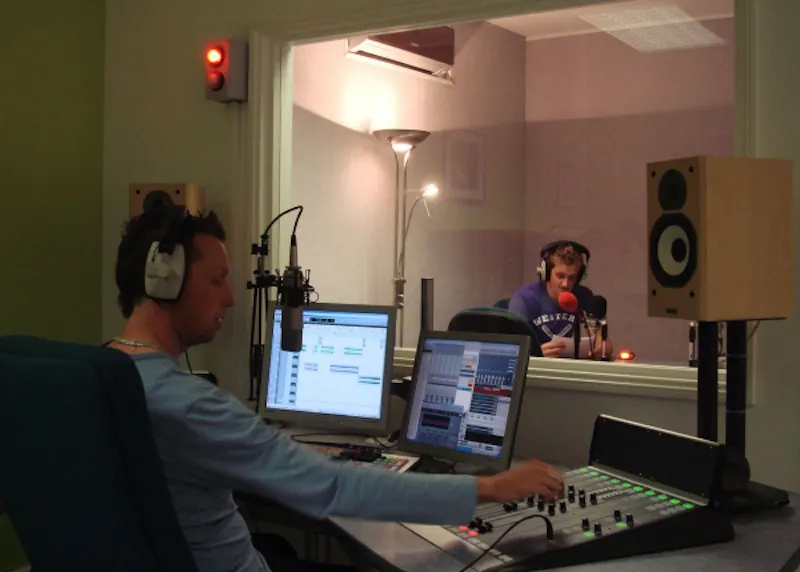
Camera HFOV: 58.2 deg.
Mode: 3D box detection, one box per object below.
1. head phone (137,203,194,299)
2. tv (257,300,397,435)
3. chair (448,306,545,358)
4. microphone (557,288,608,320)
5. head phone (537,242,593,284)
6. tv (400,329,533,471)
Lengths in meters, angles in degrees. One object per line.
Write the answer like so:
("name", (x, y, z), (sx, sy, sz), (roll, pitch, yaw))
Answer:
("head phone", (-0.597, -0.076, 1.821), (0.069, 0.163, 0.195), (10, -16, -3))
("tv", (-0.277, 0.310, 2.711), (0.485, 0.473, 0.180), (0, 0, 17))
("chair", (0.384, 0.174, 3.011), (0.239, 0.348, 0.237), (0, -1, 34))
("microphone", (0.913, 0.097, 3.606), (0.341, 0.156, 0.137), (9, 7, -44))
("head phone", (1.021, -0.132, 4.458), (0.292, 0.262, 0.118), (1, 4, -2))
("tv", (0.224, 0.397, 2.432), (0.413, 0.431, 0.177), (5, 6, 37))
